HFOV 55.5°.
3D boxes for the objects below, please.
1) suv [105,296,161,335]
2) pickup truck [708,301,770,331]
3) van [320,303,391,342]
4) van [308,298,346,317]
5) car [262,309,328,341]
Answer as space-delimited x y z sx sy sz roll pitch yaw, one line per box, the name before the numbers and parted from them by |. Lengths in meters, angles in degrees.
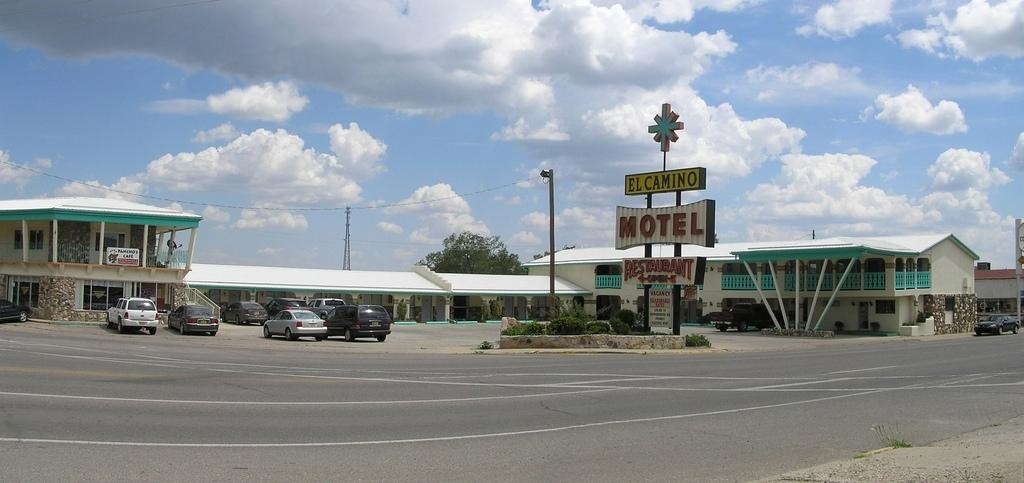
suv | -28.847 5.731 74.328 2.625 2.778 4.034 3 -6 -30
pickup truck | 21.490 7.140 91.355 5.383 1.392 2.405 -2 2 -30
van | -11.769 6.310 74.156 4.585 2.684 1.729 -2 -6 23
van | -15.876 5.531 82.091 1.680 1.013 3.193 2 -1 -37
car | -16.360 6.359 73.877 4.250 2.380 1.796 -2 -6 24
